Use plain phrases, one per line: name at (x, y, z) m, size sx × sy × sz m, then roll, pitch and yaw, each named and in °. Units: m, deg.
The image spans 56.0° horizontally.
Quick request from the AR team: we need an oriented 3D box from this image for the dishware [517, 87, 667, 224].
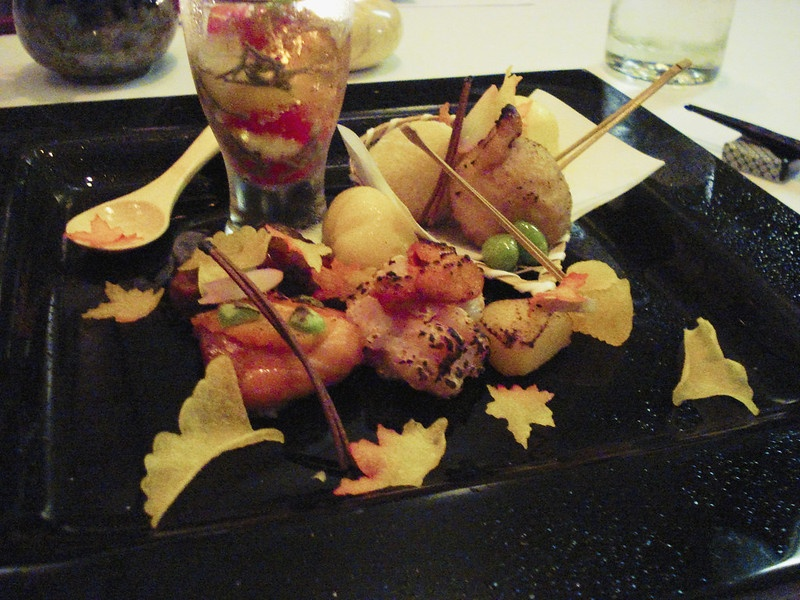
dishware at (0.288, -0.187, 1.128) m, size 0.211 × 0.029 × 0.219 m, roll -33°, pitch 61°, yaw -16°
